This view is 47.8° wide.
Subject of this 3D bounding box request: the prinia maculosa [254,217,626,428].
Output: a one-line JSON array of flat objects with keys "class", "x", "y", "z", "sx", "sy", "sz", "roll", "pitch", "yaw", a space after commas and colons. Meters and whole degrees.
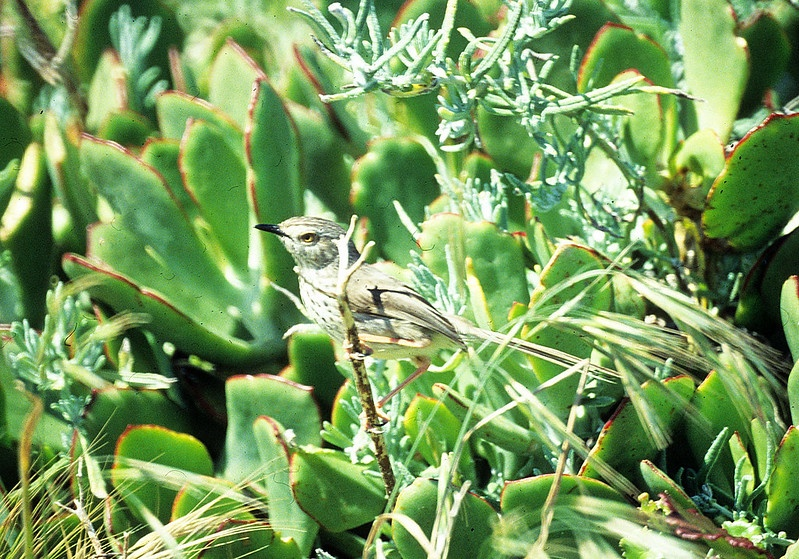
[{"class": "prinia maculosa", "x": -0.024, "y": 0.143, "z": 3.087, "sx": 0.415, "sy": 0.557, "sz": 1.044, "roll": -34, "pitch": 48, "yaw": -28}]
